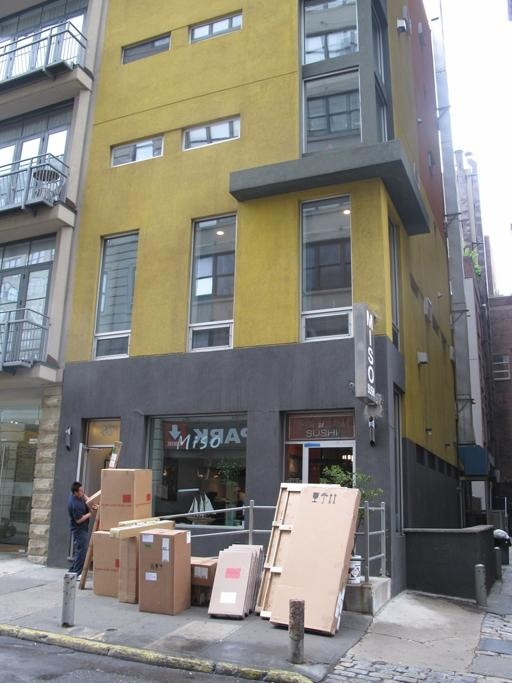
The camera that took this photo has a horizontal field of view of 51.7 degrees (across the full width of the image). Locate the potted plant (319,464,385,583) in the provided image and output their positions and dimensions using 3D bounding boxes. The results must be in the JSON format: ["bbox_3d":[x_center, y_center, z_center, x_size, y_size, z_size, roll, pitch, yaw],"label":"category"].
[{"bbox_3d":[1.544,2.770,8.189,0.891,1.698,1.569,-2,-12,15],"label":"potted plant"}]
